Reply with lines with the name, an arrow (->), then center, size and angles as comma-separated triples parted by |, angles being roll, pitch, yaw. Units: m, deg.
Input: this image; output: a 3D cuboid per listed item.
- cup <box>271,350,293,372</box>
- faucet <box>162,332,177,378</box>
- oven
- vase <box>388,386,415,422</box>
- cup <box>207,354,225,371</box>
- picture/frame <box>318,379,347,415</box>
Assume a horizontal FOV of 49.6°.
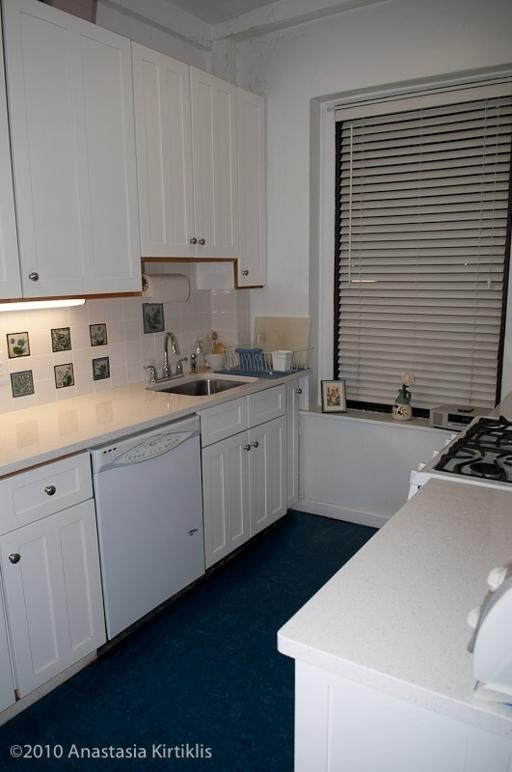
cup -> 0.148, -0.139, 3.051 | 0.105, 0.143, 0.116 | 0, 2, 0
faucet -> -0.455, -0.165, 2.898 | 0.076, 0.227, 0.208 | -2, 10, -9
oven -> -0.533, 0.508, 2.283 | 0.481, 0.752, 0.522 | 8, 16, 37
vase -> 0.784, 0.082, 2.980 | 0.103, 0.195, 0.123 | -7, 12, -37
cup -> -0.224, -0.137, 3.138 | 0.090, 0.110, 0.095 | 0, 12, 0
picture/frame -> 0.442, 0.064, 3.181 | 0.182, 0.269, 0.025 | 0, -4, 0
